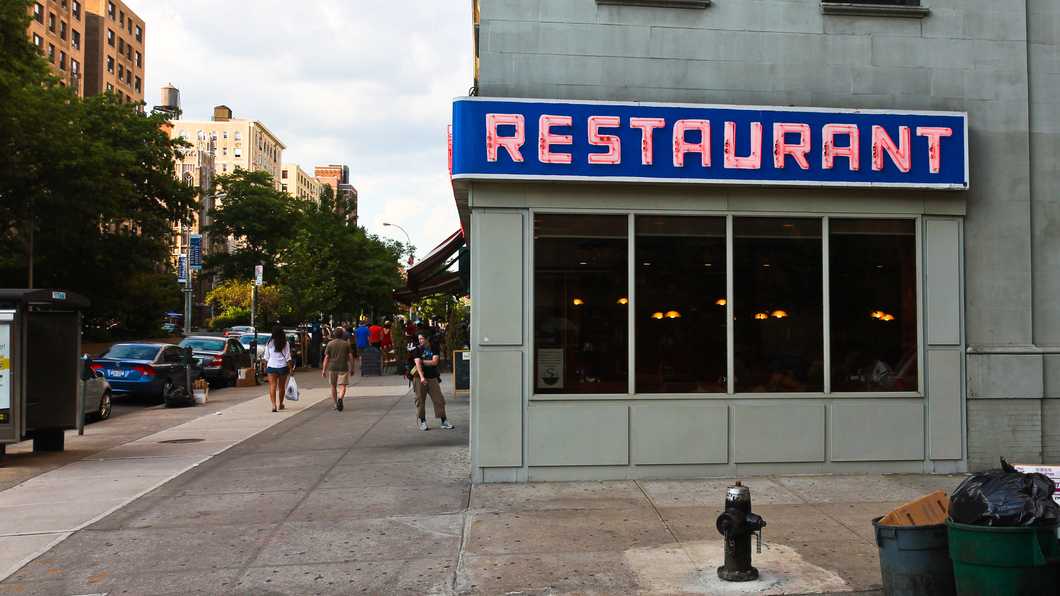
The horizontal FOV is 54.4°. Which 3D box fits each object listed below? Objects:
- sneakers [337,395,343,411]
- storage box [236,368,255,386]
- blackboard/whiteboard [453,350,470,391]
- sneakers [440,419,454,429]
[{"bbox_3d":[-4.876,2.747,26.483,0.158,0.307,0.141,1,17,-3],"label":"sneakers"},{"bbox_3d":[-9.423,2.655,34.424,0.810,0.654,0.553,0,9,-10],"label":"storage box"},{"bbox_3d":[-1.944,2.034,28.861,0.408,1.168,0.982,-12,-1,-14],"label":"blackboard/whiteboard"},{"bbox_3d":[-1.911,2.892,23.613,0.306,0.214,0.384,-10,-1,-5],"label":"sneakers"}]
